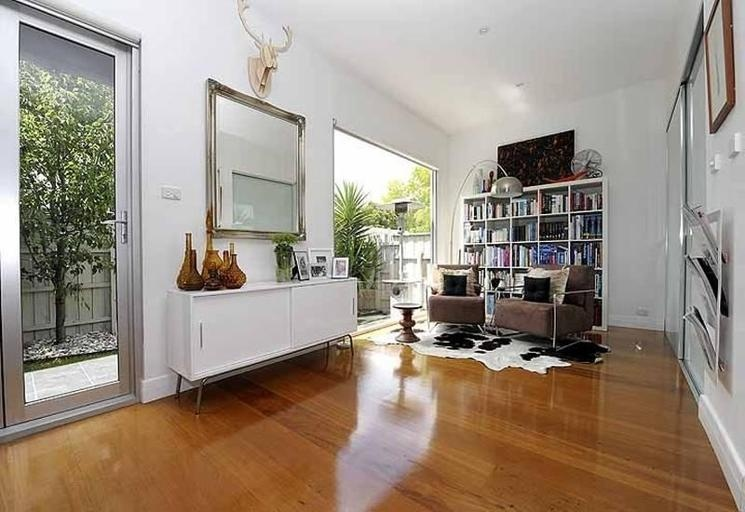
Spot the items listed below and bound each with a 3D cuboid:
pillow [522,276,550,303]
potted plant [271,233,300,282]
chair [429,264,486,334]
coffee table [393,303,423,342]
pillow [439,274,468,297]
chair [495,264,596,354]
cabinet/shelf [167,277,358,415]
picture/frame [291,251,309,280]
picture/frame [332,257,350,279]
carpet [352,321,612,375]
[{"bbox_3d":[2.018,0.410,5.614,0.083,0.292,0.297,9,-6,-36],"label":"pillow"},{"bbox_3d":[-0.924,0.003,4.811,0.251,0.486,0.280,-2,6,-13],"label":"potted plant"},{"bbox_3d":[1.138,0.535,6.361,0.664,0.949,0.907,-1,-11,14],"label":"chair"},{"bbox_3d":[0.447,0.817,5.720,0.396,0.458,0.412,-2,2,34],"label":"coffee table"},{"bbox_3d":[1.114,0.391,6.145,0.295,0.296,0.086,1,-14,21],"label":"pillow"},{"bbox_3d":[2.057,0.661,5.686,0.972,1.045,1.011,4,-6,-29],"label":"chair"},{"bbox_3d":[-0.994,0.684,4.674,0.471,0.888,1.998,5,7,43],"label":"cabinet/shelf"},{"bbox_3d":[-0.796,0.106,4.884,0.099,0.287,0.277,-11,-9,24],"label":"picture/frame"},{"bbox_3d":[-0.375,0.137,5.209,0.216,0.299,0.029,0,-9,-1],"label":"picture/frame"},{"bbox_3d":[1.477,1.073,5.221,2.184,0.054,1.378,1,6,22],"label":"carpet"}]
